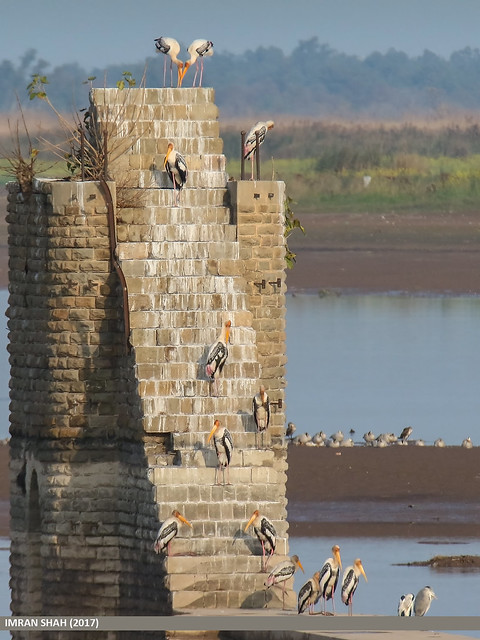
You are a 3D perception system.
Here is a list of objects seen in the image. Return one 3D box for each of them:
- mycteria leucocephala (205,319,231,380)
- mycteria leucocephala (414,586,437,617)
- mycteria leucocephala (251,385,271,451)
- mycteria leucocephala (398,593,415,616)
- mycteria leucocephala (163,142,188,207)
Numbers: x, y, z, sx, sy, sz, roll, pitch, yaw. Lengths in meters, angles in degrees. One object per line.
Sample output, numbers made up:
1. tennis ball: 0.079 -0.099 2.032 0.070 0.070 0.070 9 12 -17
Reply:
1. mycteria leucocephala: -0.282 0.477 32.416 0.356 0.853 0.613 -1 0 38
2. mycteria leucocephala: 2.862 4.213 30.752 0.294 0.401 0.683 -1 0 6
3. mycteria leucocephala: 0.374 1.489 31.943 0.253 0.861 0.672 -1 0 -3
4. mycteria leucocephala: 2.614 4.270 30.984 0.143 0.312 0.607 4 10 7
5. mycteria leucocephala: -1.075 -2.546 35.052 0.254 1.065 0.457 -2 8 26
